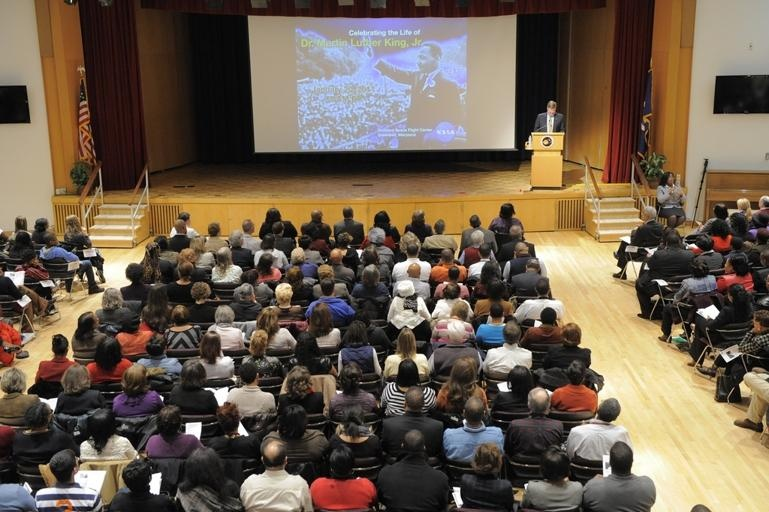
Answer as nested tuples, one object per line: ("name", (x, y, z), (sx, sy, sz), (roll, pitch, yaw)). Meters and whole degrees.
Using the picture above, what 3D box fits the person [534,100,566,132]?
("person", (4.112, -3.509, 16.359), (0.670, 0.759, 0.447), (-1, 10, 11))

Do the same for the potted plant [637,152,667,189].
("potted plant", (6.784, -2.236, 16.745), (0.632, 0.953, 0.814), (-2, 9, 4))

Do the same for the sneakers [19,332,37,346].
("sneakers", (-6.195, 1.415, 11.283), (0.155, 0.204, 0.341), (3, 26, 0))

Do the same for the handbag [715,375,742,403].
("handbag", (4.965, 1.929, 9.594), (0.408, 0.456, 0.307), (-1, 5, 15))

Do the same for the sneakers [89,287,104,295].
("sneakers", (-5.884, 0.691, 13.260), (0.294, 0.137, 0.100), (-9, 21, -27))

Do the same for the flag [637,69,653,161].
("flag", (6.709, -3.760, 16.870), (0.374, 2.377, 0.403), (3, 11, 29))

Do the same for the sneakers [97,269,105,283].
("sneakers", (-5.972, 0.404, 13.679), (0.119, 0.282, 0.167), (15, 55, 4))

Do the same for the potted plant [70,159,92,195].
("potted plant", (-7.974, -2.187, 16.923), (0.594, 0.992, 0.522), (-1, 23, -35))

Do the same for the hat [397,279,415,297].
("hat", (0.287, 0.444, 9.379), (0.229, 0.225, 0.309), (-3, 10, -2))

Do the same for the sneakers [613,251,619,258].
("sneakers", (4.981, -0.046, 14.078), (0.116, 0.127, 0.121), (-8, 17, -1))
